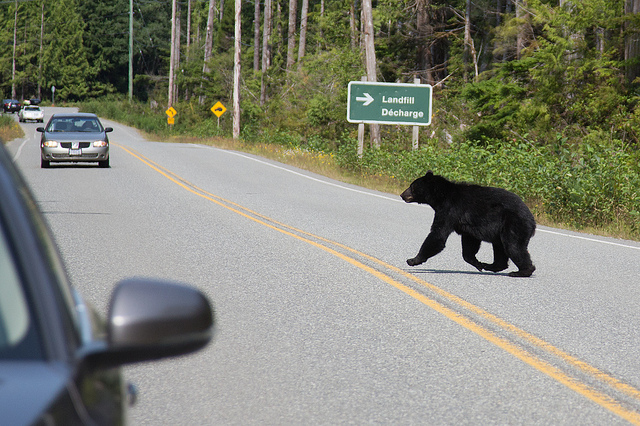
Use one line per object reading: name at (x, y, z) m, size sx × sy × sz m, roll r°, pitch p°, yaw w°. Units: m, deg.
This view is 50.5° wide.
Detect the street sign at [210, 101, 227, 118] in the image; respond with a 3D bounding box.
street sign at (-5.740, -5.893, 38.508) m, size 0.695 × 0.778 × 1.008 m, roll 0°, pitch 8°, yaw -10°

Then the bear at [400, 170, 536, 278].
bear at (2.060, 0.164, 9.171) m, size 1.654 × 1.406 × 1.214 m, roll 1°, pitch 8°, yaw -4°

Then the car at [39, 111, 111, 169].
car at (-8.024, -2.474, 22.345) m, size 1.397 × 1.251 × 3.075 m, roll -1°, pitch 1°, yaw -11°

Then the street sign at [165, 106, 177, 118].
street sign at (-9.753, -6.547, 44.398) m, size 0.485 × 0.658 × 1.376 m, roll -1°, pitch 9°, yaw -16°

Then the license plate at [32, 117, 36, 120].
license plate at (-26.209, -8.646, 62.243) m, size 0.249 × 0.156 × 0.275 m, roll 2°, pitch 5°, yaw -19°
